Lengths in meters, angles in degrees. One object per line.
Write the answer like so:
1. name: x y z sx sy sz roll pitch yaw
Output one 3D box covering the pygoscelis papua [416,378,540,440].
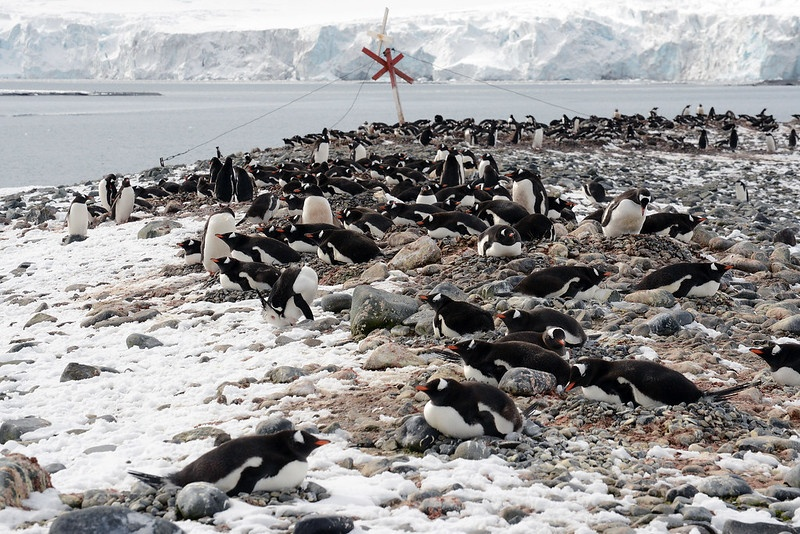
1. pygoscelis papua: 0.754 1.507 8.475 1.152 0.675 0.675 1 0 -21
